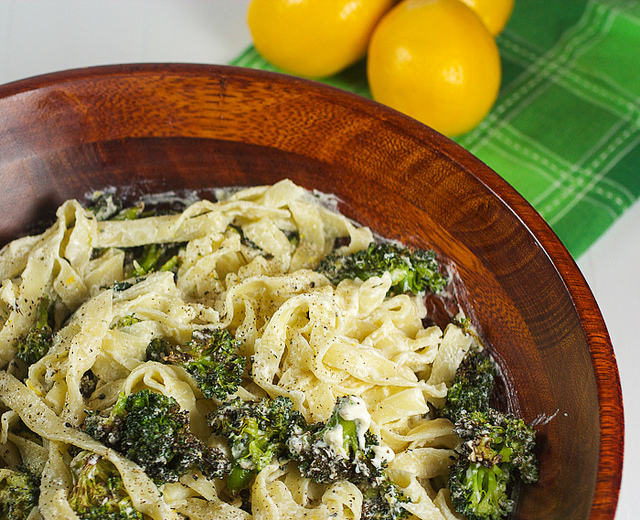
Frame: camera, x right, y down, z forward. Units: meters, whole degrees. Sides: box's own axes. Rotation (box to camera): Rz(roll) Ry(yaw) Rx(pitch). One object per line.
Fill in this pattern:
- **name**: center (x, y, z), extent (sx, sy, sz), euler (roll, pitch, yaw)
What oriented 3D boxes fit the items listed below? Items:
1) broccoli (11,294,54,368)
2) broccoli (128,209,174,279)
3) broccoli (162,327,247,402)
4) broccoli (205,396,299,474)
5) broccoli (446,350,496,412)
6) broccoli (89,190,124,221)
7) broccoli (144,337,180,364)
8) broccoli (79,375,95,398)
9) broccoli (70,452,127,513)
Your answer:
- **broccoli**: center (-0.783, 0.200, 2.017), extent (0.089, 0.107, 0.207), euler (15, 51, -28)
- **broccoli**: center (-0.501, -0.040, 2.193), extent (0.044, 0.229, 0.066), euler (36, 10, -28)
- **broccoli**: center (-0.294, 0.297, 1.909), extent (0.179, 0.147, 0.072), euler (32, 76, -19)
- **broccoli**: center (-0.160, 0.415, 1.819), extent (0.166, 0.112, 0.203), euler (-21, 83, -12)
- **broccoli**: center (0.411, 0.340, 2.030), extent (0.097, 0.057, 0.168), euler (5, 68, -1)
- **broccoli**: center (-0.631, -0.161, 2.212), extent (0.094, 0.040, 0.064), euler (-30, 75, -20)
- **broccoli**: center (-0.425, 0.250, 2.032), extent (0.078, 0.046, 0.079), euler (50, 27, -31)
- **broccoli**: center (-0.620, 0.339, 1.982), extent (0.037, 0.014, 0.051), euler (1, 89, -32)
- **broccoli**: center (-0.525, 0.540, 1.759), extent (0.110, 0.054, 0.146), euler (-2, 71, -15)
